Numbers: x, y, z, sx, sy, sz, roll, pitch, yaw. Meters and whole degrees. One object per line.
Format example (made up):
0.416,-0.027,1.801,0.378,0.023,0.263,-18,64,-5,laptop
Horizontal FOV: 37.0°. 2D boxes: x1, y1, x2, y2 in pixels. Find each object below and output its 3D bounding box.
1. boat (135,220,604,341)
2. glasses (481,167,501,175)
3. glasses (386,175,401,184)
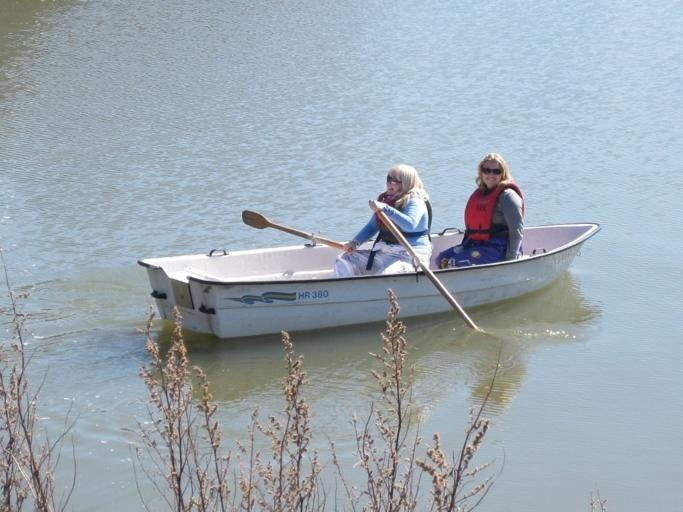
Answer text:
0.603,0.508,11.193,5.409,0.663,1.476,-5,23,-16,boat
1.602,-0.920,10.998,0.226,0.078,0.084,9,27,31,glasses
0.559,-0.814,10.862,0.130,0.029,0.110,0,15,-24,glasses
